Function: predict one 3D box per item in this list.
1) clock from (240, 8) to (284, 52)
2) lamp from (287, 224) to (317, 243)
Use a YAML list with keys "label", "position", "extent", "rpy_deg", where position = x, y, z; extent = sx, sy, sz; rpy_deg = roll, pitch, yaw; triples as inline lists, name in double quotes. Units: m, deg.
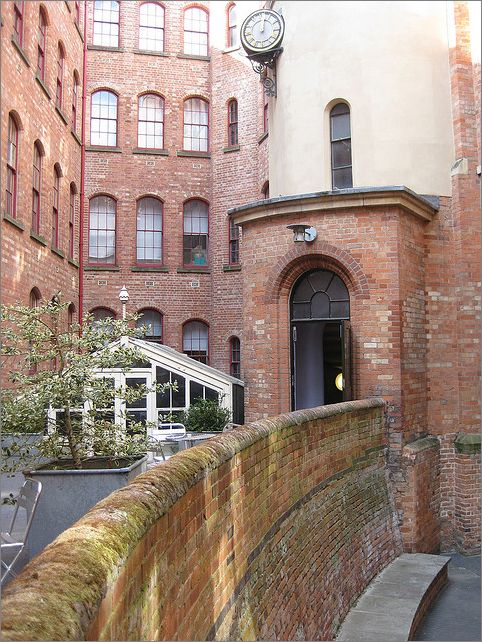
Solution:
- label: "clock"
  position: [0.448, -5.869, 12.228]
  extent: [0.971, 1.148, 0.077]
  rpy_deg: [4, -2, 35]
- label: "lamp"
  position: [0.989, -1.399, 9.570]
  extent: [0.273, 0.257, 0.372]
  rpy_deg: [-3, -10, 33]
